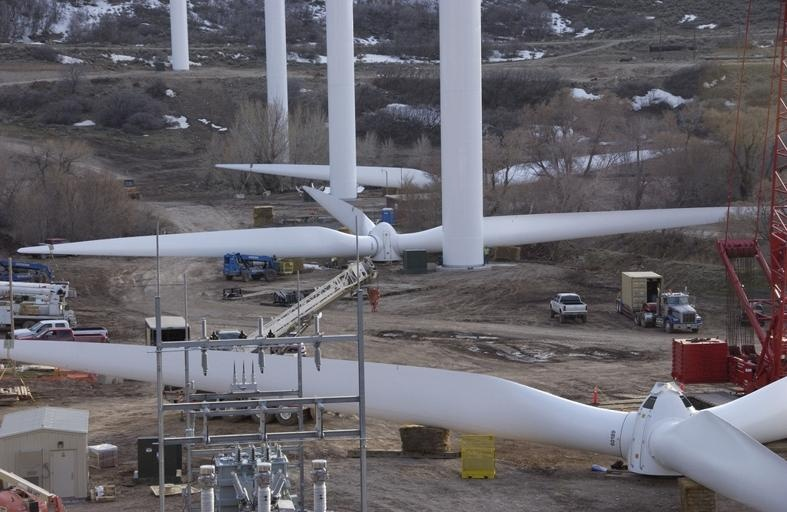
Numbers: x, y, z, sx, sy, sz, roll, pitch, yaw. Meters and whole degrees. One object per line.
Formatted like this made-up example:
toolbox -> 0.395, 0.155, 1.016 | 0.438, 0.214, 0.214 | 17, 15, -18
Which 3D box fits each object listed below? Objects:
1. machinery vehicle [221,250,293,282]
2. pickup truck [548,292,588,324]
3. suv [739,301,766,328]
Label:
machinery vehicle -> -11.764, 0.736, 148.335 | 3.711, 2.911, 7.577 | 2, -1, 1
pickup truck -> 14.044, 4.127, 139.949 | 1.882, 1.372, 3.090 | -1, 10, -12
suv -> 27.928, 4.433, 133.366 | 1.499, 1.234, 2.990 | 2, 15, 15
